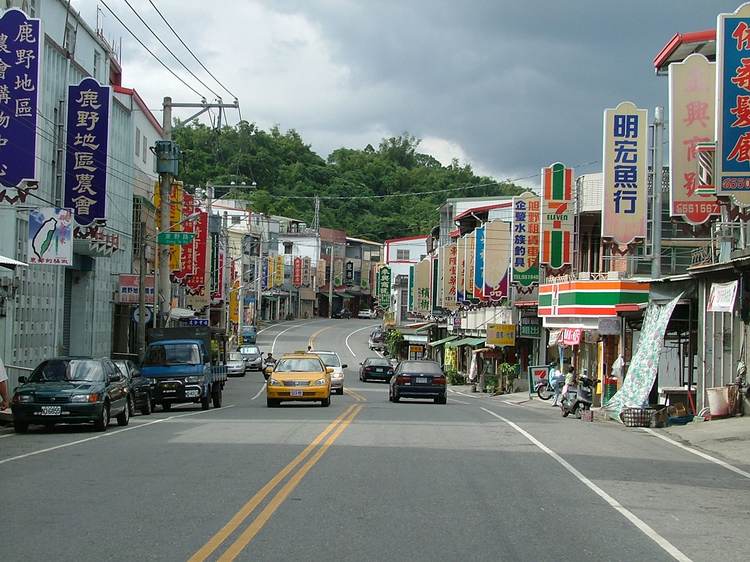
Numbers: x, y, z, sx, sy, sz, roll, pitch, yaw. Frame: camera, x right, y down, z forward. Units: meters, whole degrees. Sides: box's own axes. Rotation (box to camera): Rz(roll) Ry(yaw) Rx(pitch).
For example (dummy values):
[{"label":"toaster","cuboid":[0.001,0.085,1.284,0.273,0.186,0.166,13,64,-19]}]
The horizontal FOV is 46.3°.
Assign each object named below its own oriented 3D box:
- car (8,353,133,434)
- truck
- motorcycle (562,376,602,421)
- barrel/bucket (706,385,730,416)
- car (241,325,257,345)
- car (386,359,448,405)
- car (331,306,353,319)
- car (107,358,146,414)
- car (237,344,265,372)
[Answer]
[{"label":"car","cuboid":[-7.386,2.815,21.767,1.956,1.830,2.905,-1,-6,26]},{"label":"truck","cuboid":[-6.698,3.162,31.192,1.854,2.538,4.228,-1,-8,-1]},{"label":"motorcycle","cuboid":[6.962,3.980,29.701,0.707,1.263,1.847,4,-9,-8]},{"label":"barrel/bucket","cuboid":[9.589,3.400,24.859,0.636,0.776,0.657,0,3,0]},{"label":"car","cuboid":[-12.048,5.243,83.302,1.206,1.369,2.404,0,-9,-3]},{"label":"car","cuboid":[1.677,3.931,34.003,2.089,1.625,1.153,1,-4,0]},{"label":"car","cuboid":[-4.480,4.835,129.202,2.216,1.175,1.401,8,-8,-44]},{"label":"car","cuboid":[-7.324,3.133,26.322,1.126,1.193,2.146,-1,-10,0]},{"label":"car","cuboid":[-9.047,5.696,64.677,1.269,1.293,2.547,0,-8,-5]}]
